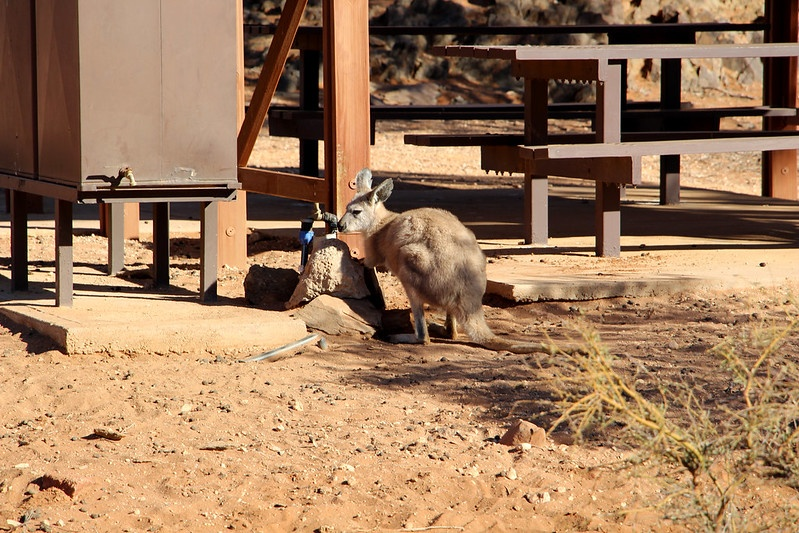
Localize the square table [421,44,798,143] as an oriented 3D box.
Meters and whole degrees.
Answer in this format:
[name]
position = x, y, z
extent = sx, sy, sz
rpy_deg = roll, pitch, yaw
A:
[square table]
position = 2.266, -1.854, 12.333
extent = 3.519, 1.118, 1.492
rpy_deg = 1, 3, -3
